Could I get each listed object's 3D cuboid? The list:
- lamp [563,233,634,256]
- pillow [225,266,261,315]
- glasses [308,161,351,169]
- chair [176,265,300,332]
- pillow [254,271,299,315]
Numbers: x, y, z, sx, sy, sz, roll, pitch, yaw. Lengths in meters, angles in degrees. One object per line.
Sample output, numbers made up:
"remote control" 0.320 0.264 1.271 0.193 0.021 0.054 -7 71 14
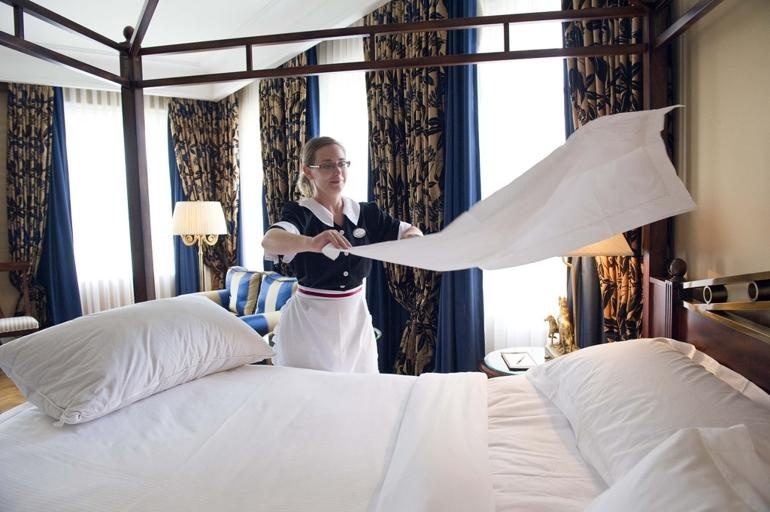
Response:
"lamp" 1.129 -0.039 2.866 0.194 0.085 0.202 -4 -22 8
"pillow" -1.203 0.305 4.794 0.111 0.235 0.326 -7 19 -30
"glasses" -0.285 -0.485 2.997 0.208 0.053 0.078 -1 5 -14
"chair" -1.098 0.302 4.531 0.705 0.555 0.504 -3 -6 40
"pillow" -0.856 0.286 4.385 0.135 0.352 0.333 23 -7 -38
